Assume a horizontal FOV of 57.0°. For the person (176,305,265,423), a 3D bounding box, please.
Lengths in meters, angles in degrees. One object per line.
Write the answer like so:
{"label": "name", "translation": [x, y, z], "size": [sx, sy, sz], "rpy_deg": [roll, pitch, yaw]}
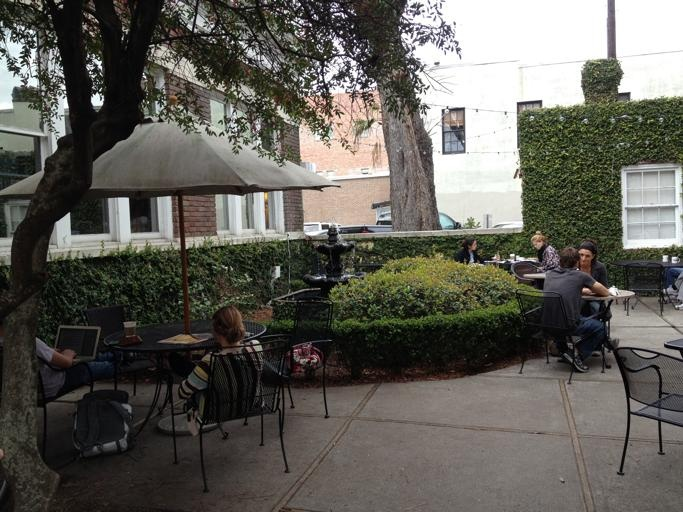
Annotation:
{"label": "person", "translation": [-0.971, 0.865, 5.633], "size": [0.646, 1.117, 0.962], "rpy_deg": [-7, 9, -29]}

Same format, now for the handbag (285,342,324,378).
{"label": "handbag", "translation": [-0.403, 1.086, 6.605], "size": [0.371, 0.312, 0.180], "rpy_deg": [-1, 2, -22]}

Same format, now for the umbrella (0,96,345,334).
{"label": "umbrella", "translation": [-1.704, -0.497, 6.518], "size": [2.459, 1.899, 2.629], "rpy_deg": [-3, 5, 12]}

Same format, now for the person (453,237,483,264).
{"label": "person", "translation": [2.700, -0.084, 13.244], "size": [0.515, 0.613, 1.898], "rpy_deg": [1, 11, 13]}

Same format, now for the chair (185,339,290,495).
{"label": "chair", "translation": [-0.949, 1.282, 5.563], "size": [0.850, 1.319, 0.858], "rpy_deg": [-9, 9, -37]}

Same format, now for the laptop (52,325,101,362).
{"label": "laptop", "translation": [-2.572, 0.820, 6.122], "size": [0.388, 0.305, 0.325], "rpy_deg": [2, -4, 4]}

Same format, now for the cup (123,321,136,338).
{"label": "cup", "translation": [-2.043, 0.700, 6.054], "size": [0.127, 0.155, 0.133], "rpy_deg": [1, 3, 0]}
